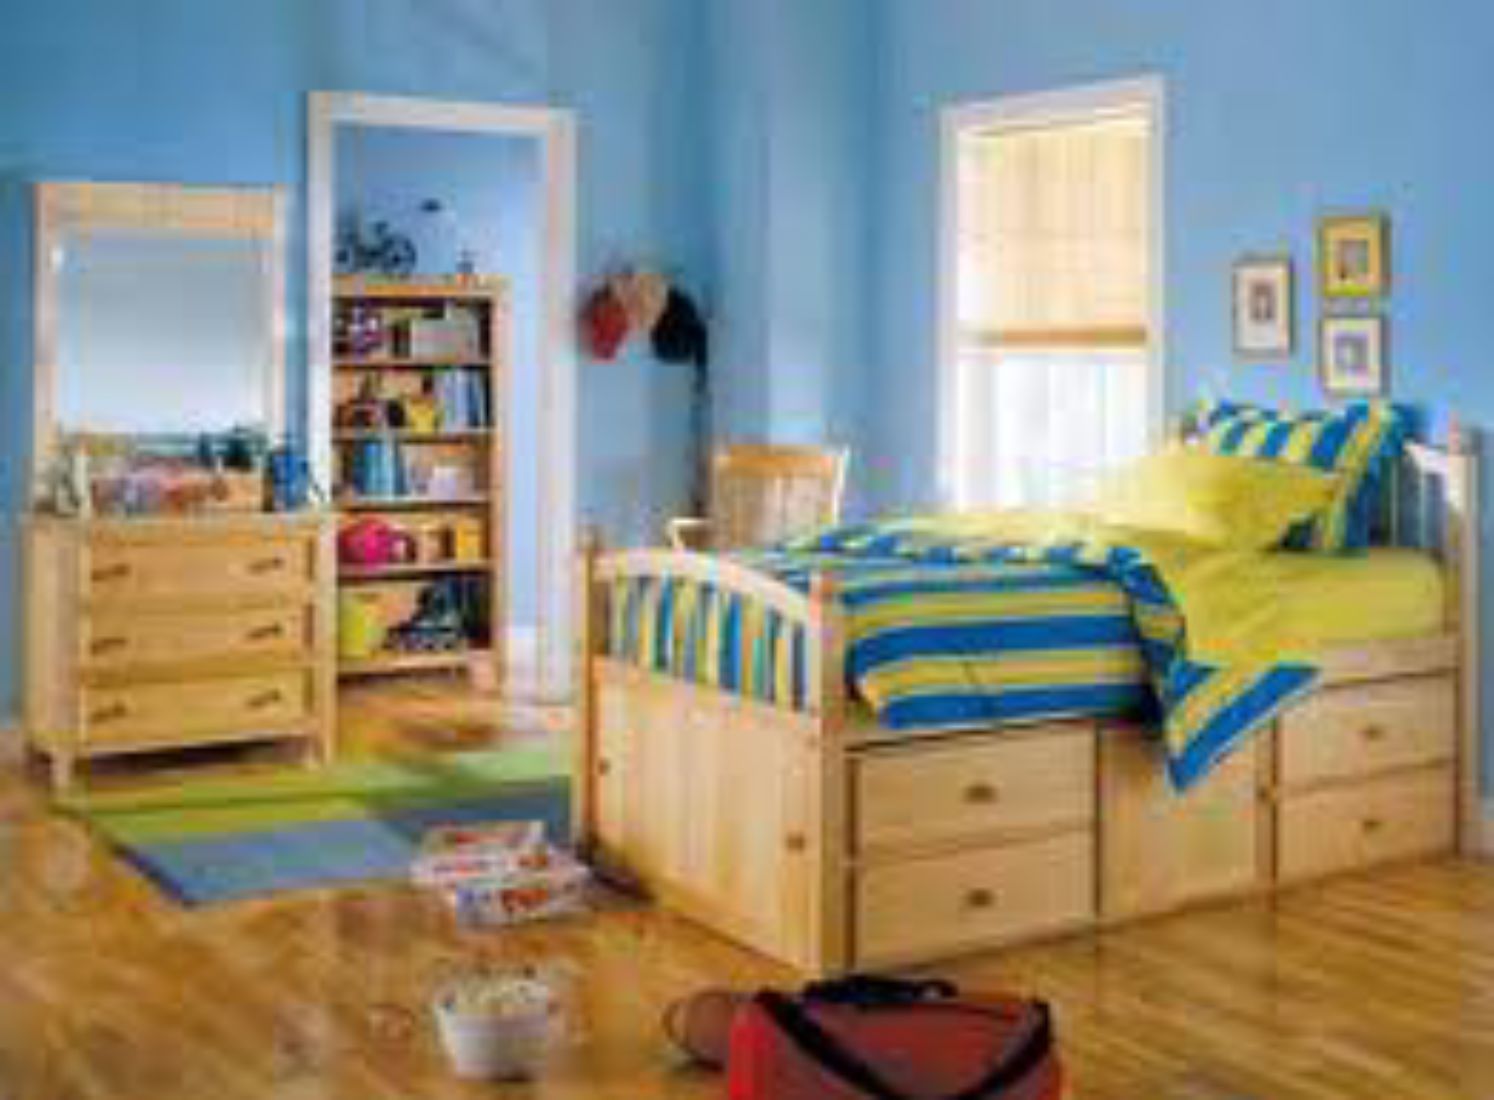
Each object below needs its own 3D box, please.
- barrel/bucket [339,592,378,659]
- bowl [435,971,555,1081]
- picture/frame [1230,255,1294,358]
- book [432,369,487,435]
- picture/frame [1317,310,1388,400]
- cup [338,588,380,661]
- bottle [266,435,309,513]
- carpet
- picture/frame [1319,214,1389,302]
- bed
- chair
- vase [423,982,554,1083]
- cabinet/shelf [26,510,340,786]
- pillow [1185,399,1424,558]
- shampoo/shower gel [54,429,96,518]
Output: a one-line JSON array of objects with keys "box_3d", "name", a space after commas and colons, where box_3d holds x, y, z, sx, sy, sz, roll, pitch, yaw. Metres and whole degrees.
[{"box_3d": [-1.758, 0.348, 6.137, 0.239, 0.256, 0.234, 2, 1, 0], "name": "barrel/bucket"}, {"box_3d": [-0.526, 0.964, 2.737, 0.187, 0.116, 0.183, 2, 2, 0], "name": "bowl"}, {"box_3d": [1.830, -0.865, 4.758, 0.045, 0.342, 0.258, -3, 7, -30], "name": "picture/frame"}, {"box_3d": [-1.346, -0.682, 6.440, 0.265, 0.341, 0.358, 0, 2, -3], "name": "book"}, {"box_3d": [2.033, -0.663, 4.503, 0.026, 0.369, 0.319, -1, 2, -41], "name": "picture/frame"}, {"box_3d": [-1.772, 0.361, 6.154, 0.259, 0.272, 0.253, 2, -1, 0], "name": "cup"}, {"box_3d": [-1.749, -0.294, 5.116, 0.129, 0.265, 0.169, 1, 6, 10], "name": "bottle"}, {"box_3d": [-1.351, 0.854, 4.430, 1.519, 0.022, 1.390, -4, 8, -34], "name": "carpet"}, {"box_3d": [2.025, -0.984, 4.522, 0.229, 0.258, 0.027, -4, 6, -10], "name": "picture/frame"}, {"box_3d": [0.710, 0.318, 3.951, 1.937, 1.143, 1.240, -2, 4, -27], "name": "bed"}, {"box_3d": [0.115, -0.243, 5.833, 0.555, 0.857, 0.576, 1, 0, 33], "name": "chair"}, {"box_3d": [-0.524, 0.981, 2.768, 0.241, 0.148, 0.224, -1, 7, -12], "name": "vase"}, {"box_3d": [-2.062, 0.281, 5.240, 1.444, 1.348, 0.877, 0, 0, -29], "name": "cabinet/shelf"}, {"box_3d": [1.825, -0.254, 4.292, 0.166, 0.524, 0.563, 22, -7, -27], "name": "pillow"}, {"box_3d": [-2.427, -0.233, 4.848, 0.108, 0.296, 0.144, -8, -15, -14], "name": "shampoo/shower gel"}]
